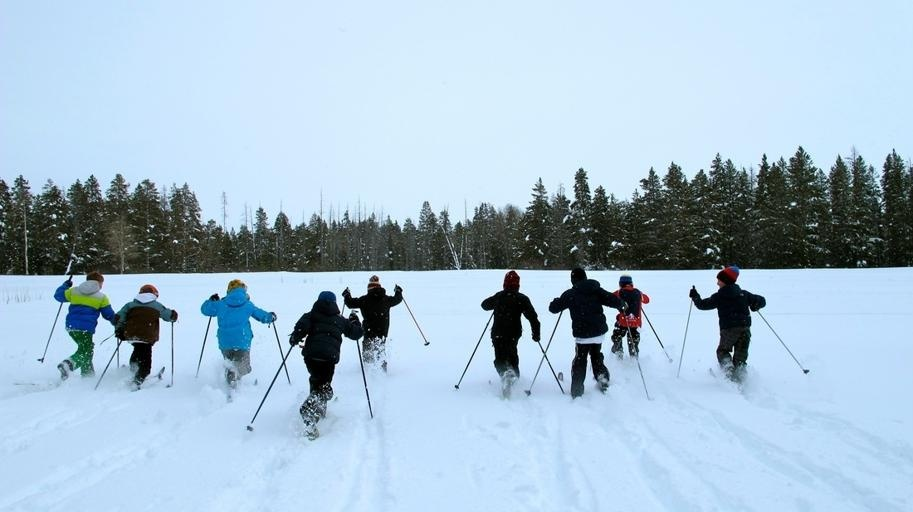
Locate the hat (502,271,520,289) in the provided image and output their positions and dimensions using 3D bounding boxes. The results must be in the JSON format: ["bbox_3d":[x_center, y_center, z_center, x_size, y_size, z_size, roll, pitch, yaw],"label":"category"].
[{"bbox_3d":[1.931,0.870,24.995,0.476,0.644,0.661,2,-8,4],"label":"hat"}]

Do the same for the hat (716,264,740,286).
[{"bbox_3d":[9.585,0.683,25.204,0.762,0.725,0.590,5,-13,41],"label":"hat"}]

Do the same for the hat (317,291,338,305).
[{"bbox_3d":[-4.297,1.386,23.927,0.391,0.306,0.529,5,-5,-5],"label":"hat"}]

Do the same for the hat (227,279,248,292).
[{"bbox_3d":[-7.645,1.018,24.758,0.579,0.214,0.494,-4,-8,-14],"label":"hat"}]

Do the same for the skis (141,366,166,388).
[{"bbox_3d":[-10.679,4.283,25.318,0.272,0.279,1.547,37,4,-7],"label":"skis"}]

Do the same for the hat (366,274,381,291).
[{"bbox_3d":[-3.010,0.945,26.423,0.479,0.532,0.537,3,-9,-34],"label":"hat"}]

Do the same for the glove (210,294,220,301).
[{"bbox_3d":[-8.407,1.449,24.846,0.230,0.277,0.102,3,34,-2],"label":"glove"}]

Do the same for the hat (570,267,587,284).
[{"bbox_3d":[4.273,0.646,25.047,0.543,0.667,0.688,0,23,5],"label":"hat"}]

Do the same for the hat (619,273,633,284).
[{"bbox_3d":[6.194,0.829,26.414,0.336,0.246,0.472,2,0,-21],"label":"hat"}]

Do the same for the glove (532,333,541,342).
[{"bbox_3d":[2.749,2.807,24.709,0.238,0.246,0.485,-1,-1,0],"label":"glove"}]

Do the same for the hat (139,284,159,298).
[{"bbox_3d":[-10.805,1.199,25.422,0.650,0.498,0.934,5,-1,3],"label":"hat"}]
